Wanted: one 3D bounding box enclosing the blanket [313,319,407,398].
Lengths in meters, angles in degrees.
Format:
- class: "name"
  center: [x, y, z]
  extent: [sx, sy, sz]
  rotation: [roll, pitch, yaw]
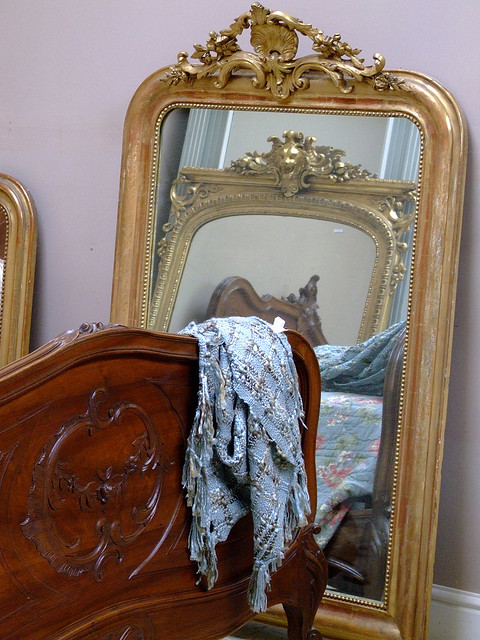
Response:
- class: "blanket"
  center: [0.339, 0.128, 2.226]
  extent: [0.220, 0.248, 0.083]
  rotation: [14, -6, 22]
